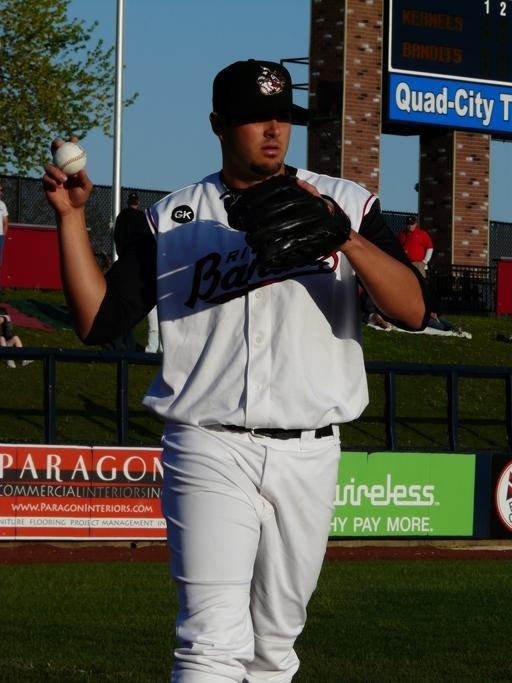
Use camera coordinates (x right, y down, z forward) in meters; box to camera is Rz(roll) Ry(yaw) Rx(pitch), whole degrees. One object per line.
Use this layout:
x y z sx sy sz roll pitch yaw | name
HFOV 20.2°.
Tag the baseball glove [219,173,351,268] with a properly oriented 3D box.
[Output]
0.149 -0.492 5.952 0.474 0.387 0.231 3 2 3 | baseball glove
